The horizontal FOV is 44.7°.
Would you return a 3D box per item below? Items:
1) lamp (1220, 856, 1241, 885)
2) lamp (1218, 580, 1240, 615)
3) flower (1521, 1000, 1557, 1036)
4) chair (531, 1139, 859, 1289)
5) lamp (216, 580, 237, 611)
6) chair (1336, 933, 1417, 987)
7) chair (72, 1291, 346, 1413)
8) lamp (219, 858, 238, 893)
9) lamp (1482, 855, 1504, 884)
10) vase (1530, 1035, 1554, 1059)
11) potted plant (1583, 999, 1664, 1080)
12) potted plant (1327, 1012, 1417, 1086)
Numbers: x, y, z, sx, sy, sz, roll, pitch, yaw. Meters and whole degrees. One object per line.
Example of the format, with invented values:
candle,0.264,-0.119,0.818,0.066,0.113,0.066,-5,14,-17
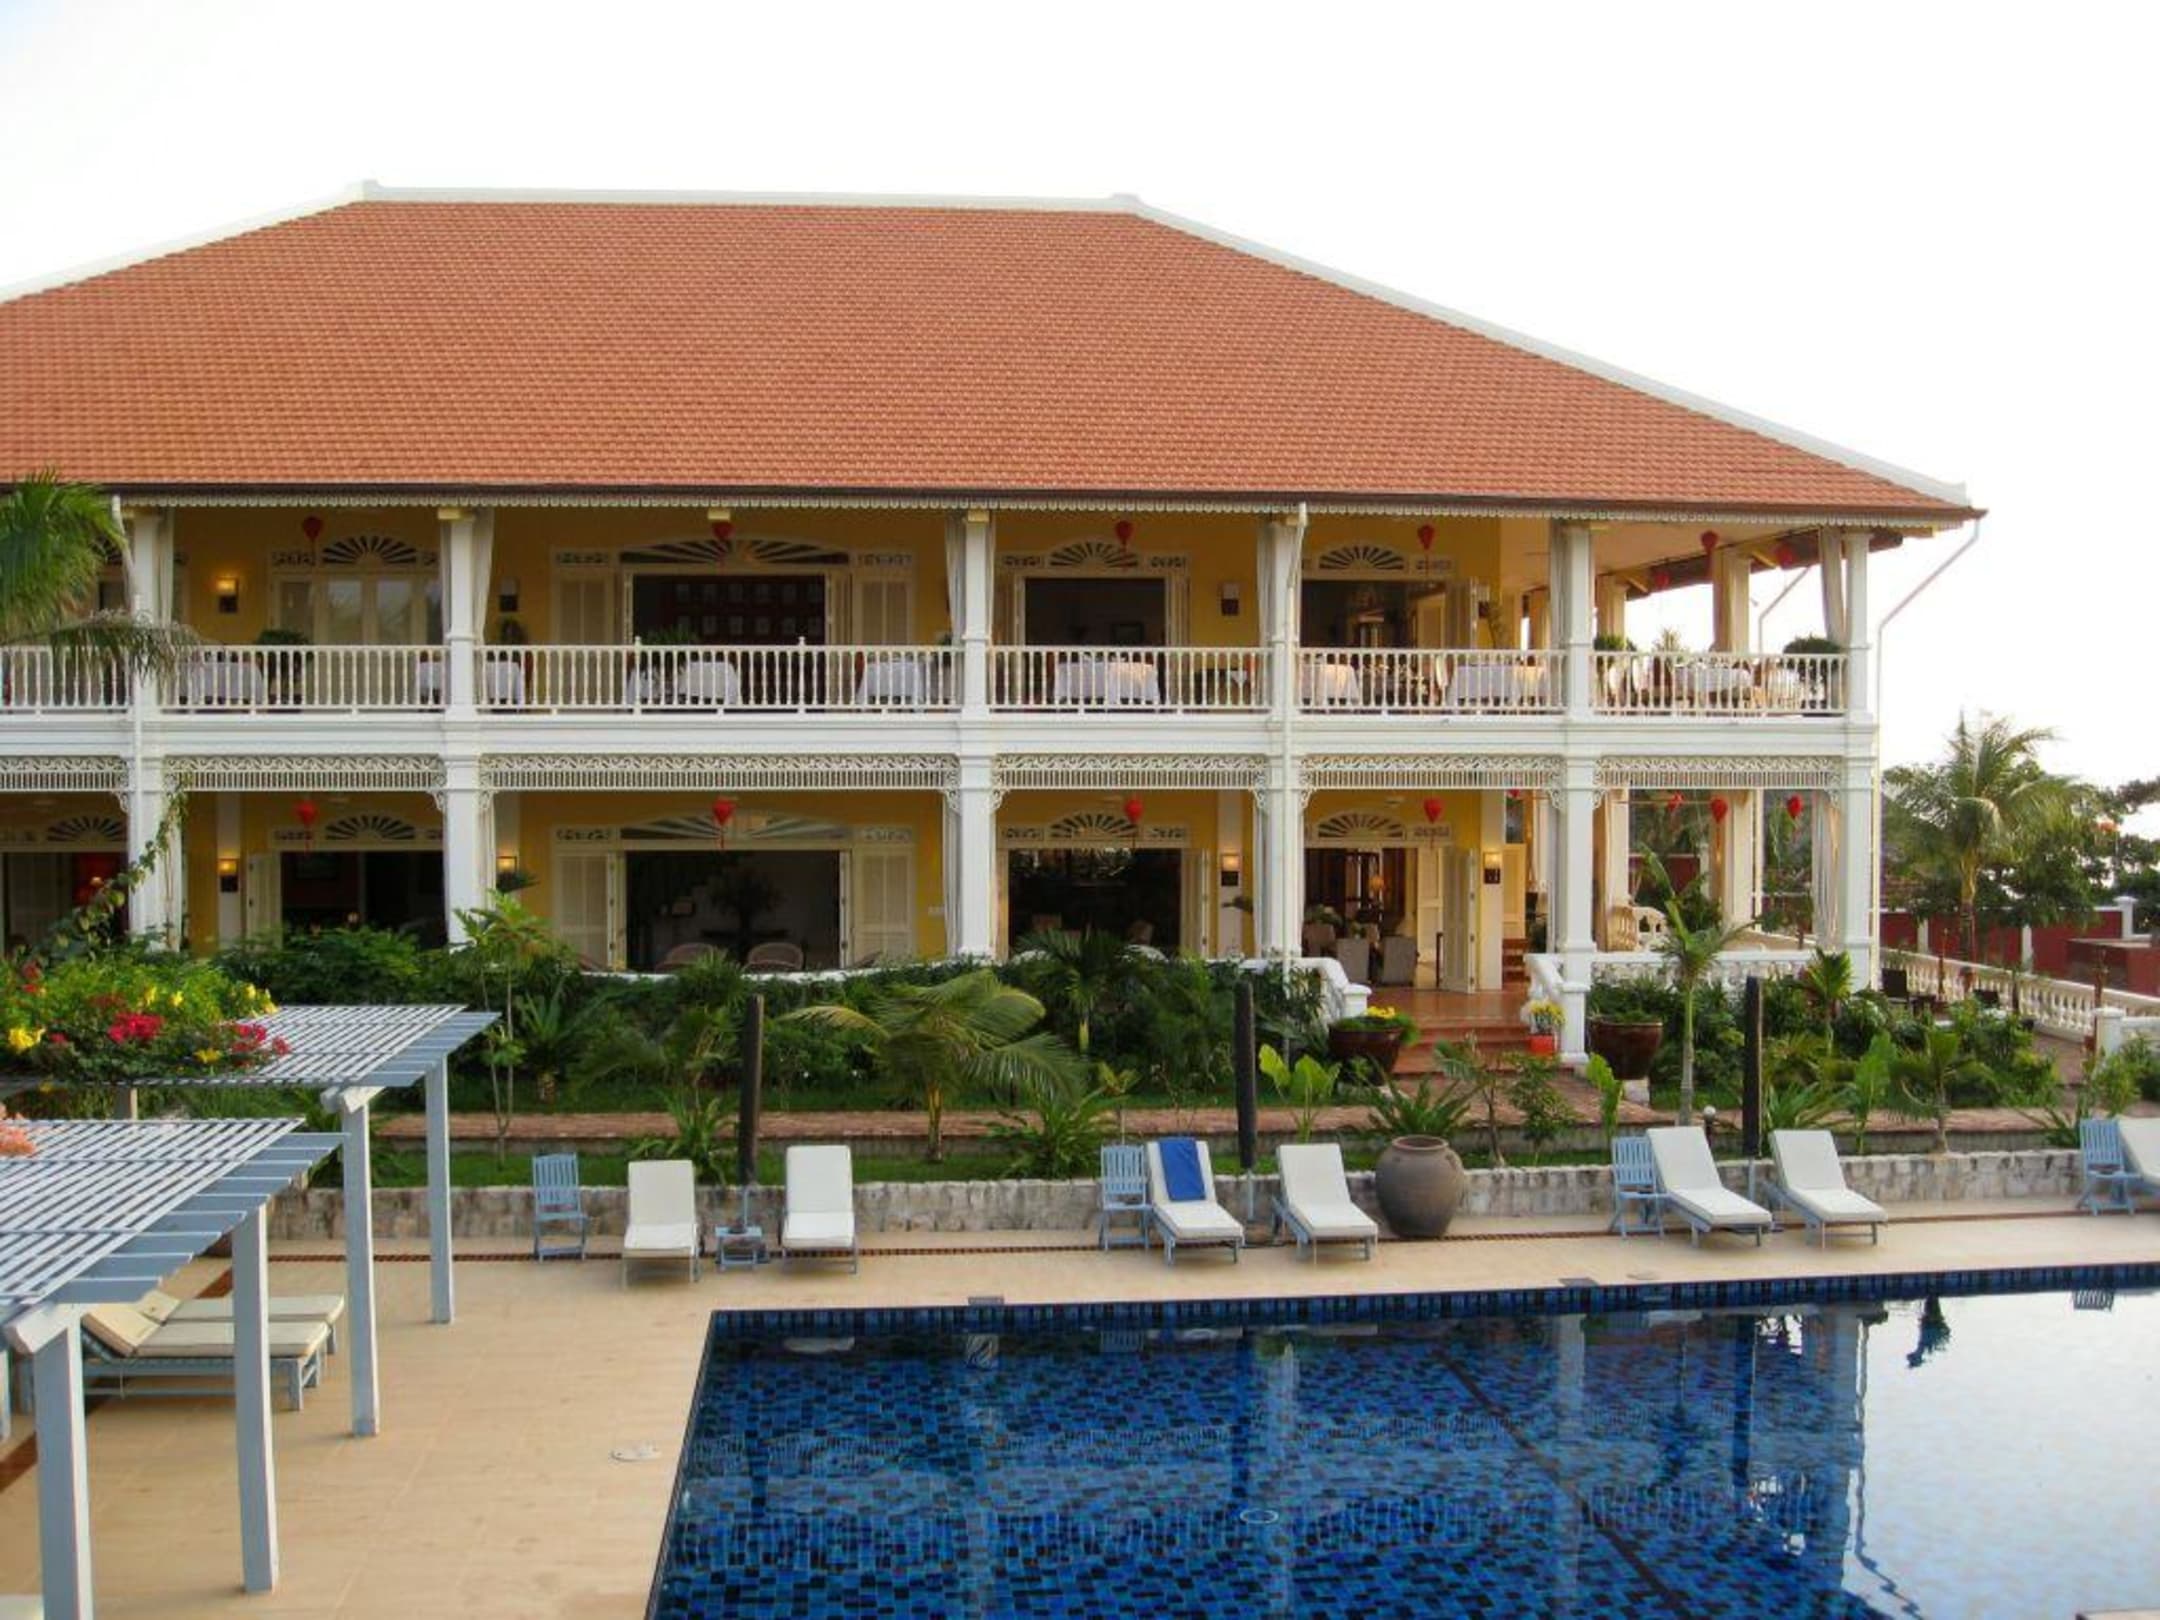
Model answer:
lamp,2.185,0.905,38.343,0.304,0.670,0.338,0,8,2
lamp,2.199,-3.092,38.376,0.350,0.480,0.142,-4,14,-21
flower,5.926,2.681,33.834,0.339,0.430,0.388,1,-2,-1
chair,-3.809,4.125,26.887,3.008,1.050,1.601,0,15,-4
lamp,-12.042,-3.027,37.140,0.294,0.656,0.317,0,0,-17
chair,4.245,2.144,37.508,1.058,0.908,0.628,0,-3,9
chair,-7.686,4.700,23.323,1.243,0.804,1.399,0,1,-6
lamp,-11.946,0.907,36.995,0.333,0.518,0.100,-6,15,-29
lamp,6.076,0.901,38.796,0.389,0.470,0.317,0,-2,1
vase,5.973,3.075,33.954,0.206,0.268,0.217,0,-2,28
potted plant,6.941,2.986,33.637,0.815,0.719,0.913,1,4,4
potted plant,3.565,2.942,32.715,0.789,0.652,0.857,-1,-1,-13
